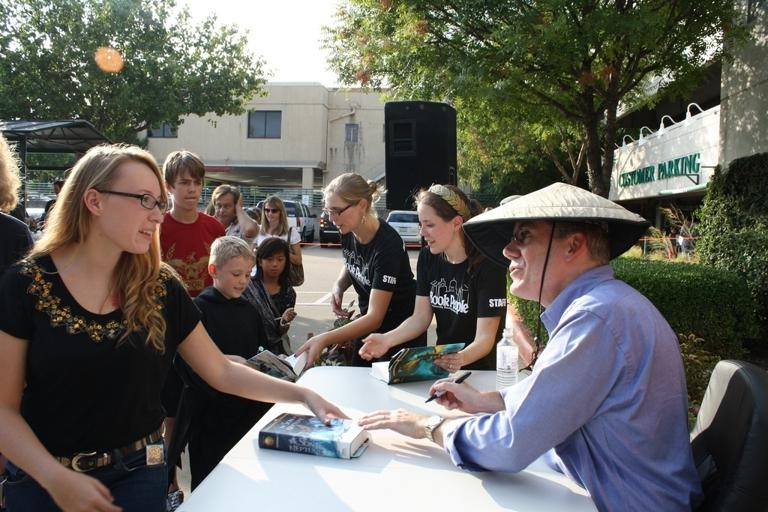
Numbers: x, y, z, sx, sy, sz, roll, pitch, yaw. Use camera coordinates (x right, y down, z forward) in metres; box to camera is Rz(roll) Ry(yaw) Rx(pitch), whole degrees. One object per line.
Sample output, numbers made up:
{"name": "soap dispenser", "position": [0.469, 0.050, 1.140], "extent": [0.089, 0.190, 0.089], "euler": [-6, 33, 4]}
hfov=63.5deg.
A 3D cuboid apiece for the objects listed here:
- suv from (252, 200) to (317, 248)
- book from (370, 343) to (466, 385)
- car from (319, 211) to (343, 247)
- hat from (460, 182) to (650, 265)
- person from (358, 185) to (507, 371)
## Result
{"name": "suv", "position": [-3.284, -1.453, 22.836], "extent": [1.945, 1.407, 3.435], "euler": [0, 10, 9]}
{"name": "book", "position": [0.197, 0.737, 4.168], "extent": [0.425, 0.171, 0.320], "euler": [5, -13, -35]}
{"name": "car", "position": [-2.053, -0.925, 21.566], "extent": [1.101, 1.097, 2.417], "euler": [0, 7, 1]}
{"name": "hat", "position": [0.954, -0.222, 3.403], "extent": [0.631, 0.240, 0.662], "euler": [-2, -14, 16]}
{"name": "person", "position": [0.445, 0.466, 4.727], "extent": [1.008, 1.864, 0.957], "euler": [-5, 4, -35]}
